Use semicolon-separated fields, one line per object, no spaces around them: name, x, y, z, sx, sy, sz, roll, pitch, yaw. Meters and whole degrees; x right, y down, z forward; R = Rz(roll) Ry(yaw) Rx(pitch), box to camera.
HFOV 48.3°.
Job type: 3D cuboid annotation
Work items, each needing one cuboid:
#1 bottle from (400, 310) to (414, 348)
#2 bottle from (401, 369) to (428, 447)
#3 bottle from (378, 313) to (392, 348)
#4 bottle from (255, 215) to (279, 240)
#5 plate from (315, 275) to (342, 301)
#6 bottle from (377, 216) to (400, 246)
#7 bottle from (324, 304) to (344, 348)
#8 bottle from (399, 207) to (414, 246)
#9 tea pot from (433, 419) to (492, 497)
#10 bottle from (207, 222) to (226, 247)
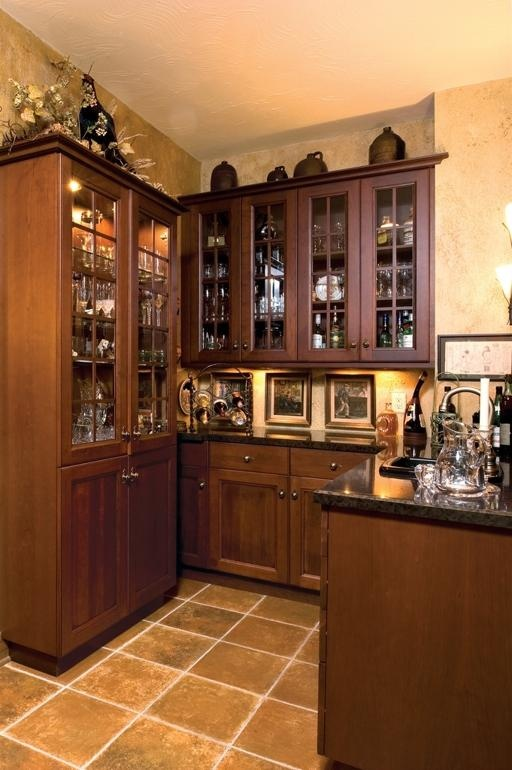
bottle;0.727;-0.264;2.772;0.032;0.186;0.078;-1;3;-40
bottle;0.769;0.105;2.765;0.109;0.335;0.223;1;3;15
bottle;0.630;-0.270;2.818;0.074;0.170;0.018;2;3;25
bottle;0.062;-0.845;3.080;0.128;0.161;0.020;4;8;32
plate;0.368;-0.491;2.933;0.153;0.137;0.035;2;3;26
bottle;0.639;-0.738;2.801;0.131;0.180;0.122;-1;6;0
bottle;0.407;-0.273;2.926;0.080;0.177;0.023;2;3;27
bottle;0.731;-0.763;2.774;0.063;0.193;0.047;2;3;19
tea pot;0.579;0.200;1.567;0.147;0.224;0.166;4;2;-42
bottle;-0.223;-0.847;3.241;0.140;0.218;0.016;1;2;24
